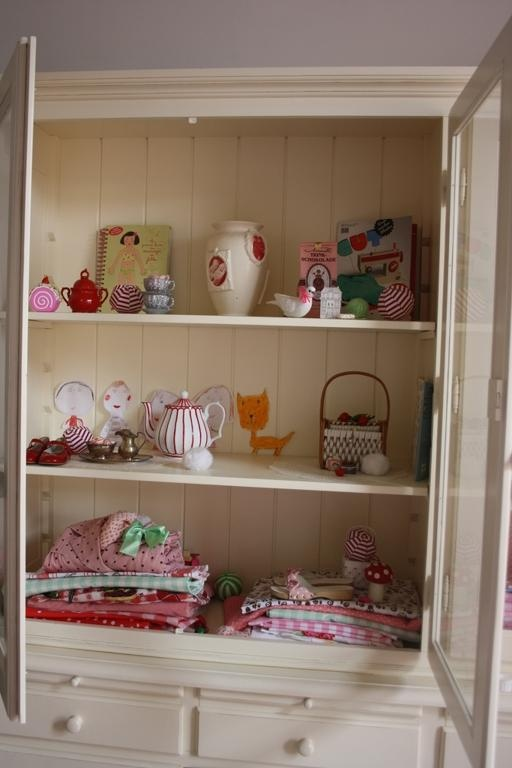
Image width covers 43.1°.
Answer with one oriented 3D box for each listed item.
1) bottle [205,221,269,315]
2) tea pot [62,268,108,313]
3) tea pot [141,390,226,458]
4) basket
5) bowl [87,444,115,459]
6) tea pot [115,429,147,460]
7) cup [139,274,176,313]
[{"bbox_3d":[-0.049,-0.278,1.619,0.148,0.239,0.163,-4,7,-39],"label":"bottle"},{"bbox_3d":[-0.429,-0.236,1.660,0.128,0.130,0.094,-1,15,-10],"label":"tea pot"},{"bbox_3d":[-0.182,0.103,1.659,0.201,0.170,0.140,2,-5,-3],"label":"tea pot"},{"bbox_3d":[0.249,0.096,1.630,0.163,0.253,0.106,2,-3,17],"label":"basket"},{"bbox_3d":[-0.379,0.165,1.600,0.043,0.031,0.044,1,1,0],"label":"bowl"},{"bbox_3d":[-0.308,0.156,1.653,0.091,0.102,0.064,2,-3,4],"label":"tea pot"},{"bbox_3d":[-0.231,-0.213,1.602,0.098,0.094,0.065,2,2,13],"label":"cup"}]
